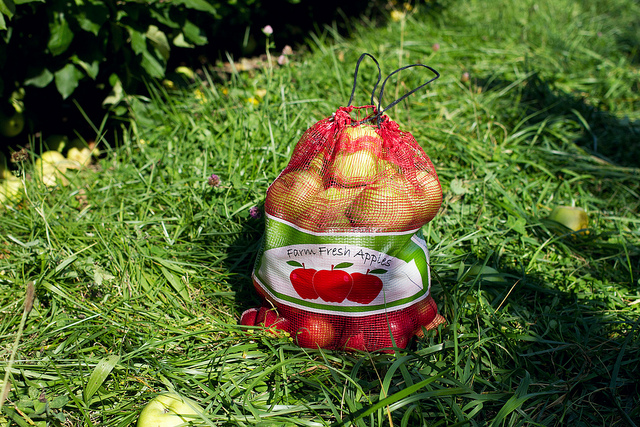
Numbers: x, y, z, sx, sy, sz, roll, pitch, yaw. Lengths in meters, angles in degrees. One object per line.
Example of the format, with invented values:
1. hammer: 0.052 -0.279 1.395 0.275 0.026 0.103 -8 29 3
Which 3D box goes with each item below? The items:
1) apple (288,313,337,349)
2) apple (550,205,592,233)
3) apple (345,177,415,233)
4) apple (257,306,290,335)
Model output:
1. apple: -0.044 0.592 3.071 0.165 0.126 0.215 10 -3 -42
2. apple: 1.512 0.034 3.594 0.146 0.101 0.180 -5 4 -28
3. apple: 0.296 -0.025 2.935 0.294 0.205 0.205 -24 44 -25
4. apple: -0.254 0.562 3.098 0.183 0.077 0.080 22 44 27
